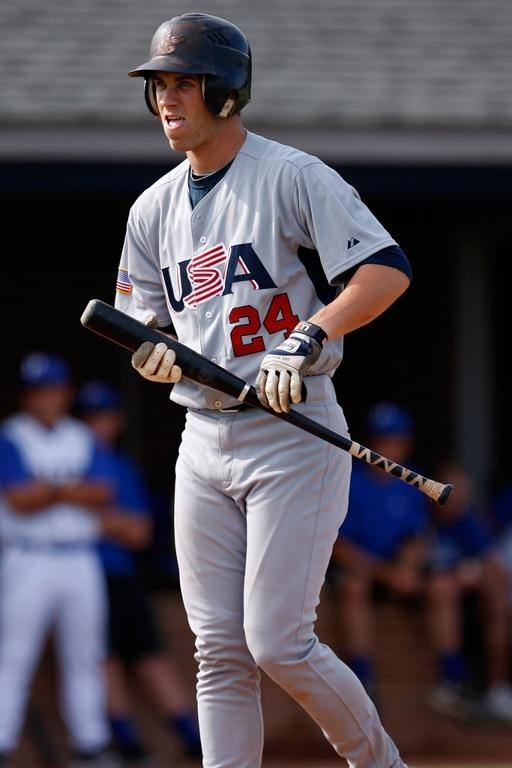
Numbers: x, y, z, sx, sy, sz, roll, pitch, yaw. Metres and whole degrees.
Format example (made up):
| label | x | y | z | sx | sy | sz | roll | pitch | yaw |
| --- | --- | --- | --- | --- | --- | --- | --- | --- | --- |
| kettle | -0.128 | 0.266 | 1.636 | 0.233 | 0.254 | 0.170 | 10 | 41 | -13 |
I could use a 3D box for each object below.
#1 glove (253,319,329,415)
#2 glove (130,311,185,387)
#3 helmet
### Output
| label | x | y | z | sx | sy | sz | roll | pitch | yaw |
| --- | --- | --- | --- | --- | --- | --- | --- | --- | --- |
| glove | 0.080 | -0.039 | 2.906 | 0.118 | 0.211 | 0.140 | 34 | -20 | -36 |
| glove | -0.256 | -0.064 | 3.037 | 0.048 | 0.133 | 0.103 | -19 | -29 | -34 |
| helmet | -0.173 | -0.811 | 3.138 | 0.273 | 0.236 | 0.324 | -5 | -4 | 40 |
